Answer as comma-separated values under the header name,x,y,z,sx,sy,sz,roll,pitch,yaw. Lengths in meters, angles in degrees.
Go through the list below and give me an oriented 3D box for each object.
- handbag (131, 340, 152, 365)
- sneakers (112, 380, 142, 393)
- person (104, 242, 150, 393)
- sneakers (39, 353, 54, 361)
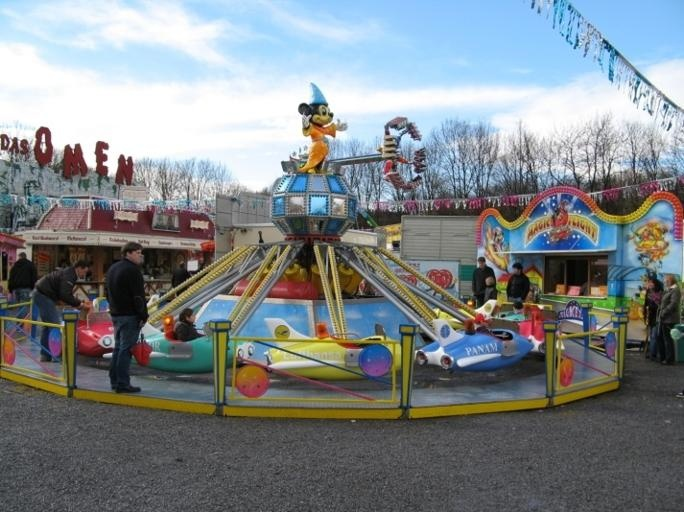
name,x,y,z,sx,sy,sz,roll,pitch,yaw
handbag,-3.008,1.459,10.240,0.314,0.448,0.337,-6,-12,45
sneakers,-3.231,1.950,10.184,0.425,0.192,0.165,0,-1,-9
person,-3.233,0.951,10.219,0.579,2.248,0.742,-2,11,-20
sneakers,-5.153,1.753,11.813,0.181,0.253,0.113,4,-4,-25
